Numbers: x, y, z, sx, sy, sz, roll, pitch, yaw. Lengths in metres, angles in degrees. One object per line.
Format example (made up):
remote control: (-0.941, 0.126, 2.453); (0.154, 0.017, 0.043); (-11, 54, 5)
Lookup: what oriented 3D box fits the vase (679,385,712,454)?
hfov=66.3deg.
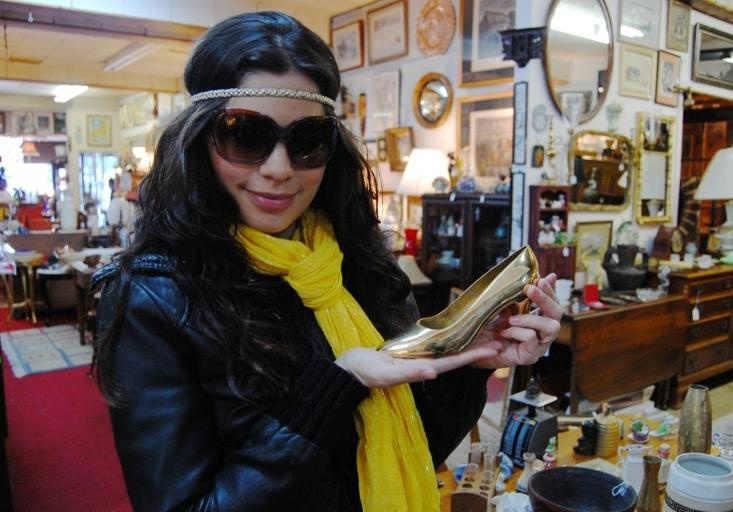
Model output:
vase: (1.272, 0.646, 2.180); (0.109, 0.267, 0.198); (4, 16, 24)

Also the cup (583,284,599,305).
cup: (1.620, 0.282, 4.082); (0.130, 0.176, 0.091); (-1, -2, 4)

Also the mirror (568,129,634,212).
mirror: (1.890, -0.686, 4.568); (0.743, 0.626, 0.045); (-1, 4, -26)

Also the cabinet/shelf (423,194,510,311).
cabinet/shelf: (0.924, -0.131, 5.042); (0.817, 0.830, 0.250); (7, 22, 22)

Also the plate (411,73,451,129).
plate: (0.621, -1.481, 5.371); (0.059, 0.536, 0.525); (-13, -2, -38)

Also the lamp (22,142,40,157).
lamp: (-3.510, -1.096, 5.862); (0.155, 0.155, 0.158); (-1, 10, 7)

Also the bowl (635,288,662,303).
bowl: (2.185, 0.303, 4.356); (0.159, 0.054, 0.147); (-3, 3, 0)

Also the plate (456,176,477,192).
plate: (0.857, -0.613, 4.863); (0.143, 0.194, 0.144); (-2, -1, -4)

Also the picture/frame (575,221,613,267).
picture/frame: (1.811, -0.081, 4.533); (0.019, 0.368, 0.380); (8, -4, -24)

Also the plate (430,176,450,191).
plate: (0.656, -0.648, 5.090); (0.123, 0.109, 0.141); (18, 31, 41)

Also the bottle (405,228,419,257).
bottle: (0.446, -0.143, 5.638); (0.217, 0.336, 0.220); (-1, 1, 0)

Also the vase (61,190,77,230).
vase: (-3.649, -0.547, 6.905); (0.229, 0.455, 0.226); (-3, 4, -41)

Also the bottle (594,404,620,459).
bottle: (1.066, 0.774, 2.493); (0.122, 0.200, 0.131); (-5, 1, 0)

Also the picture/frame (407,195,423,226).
picture/frame: (0.489, -0.460, 5.714); (0.052, 0.404, 0.291); (-9, 11, -36)

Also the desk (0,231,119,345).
desk: (-2.985, 0.302, 5.310); (1.164, 0.902, 0.767); (-2, 2, -35)

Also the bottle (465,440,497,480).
bottle: (0.460, 0.810, 2.238); (0.114, 0.160, 0.113); (0, -4, 0)

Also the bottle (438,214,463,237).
bottle: (0.764, -0.266, 5.160); (0.225, 0.232, 0.135); (5, 6, 35)

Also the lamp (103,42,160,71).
lamp: (-2.528, -2.119, 6.006); (0.222, 0.078, 0.684); (-14, 8, 2)

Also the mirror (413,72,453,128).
mirror: (0.641, -1.482, 5.347); (0.059, 0.541, 0.530); (-13, -2, -38)
